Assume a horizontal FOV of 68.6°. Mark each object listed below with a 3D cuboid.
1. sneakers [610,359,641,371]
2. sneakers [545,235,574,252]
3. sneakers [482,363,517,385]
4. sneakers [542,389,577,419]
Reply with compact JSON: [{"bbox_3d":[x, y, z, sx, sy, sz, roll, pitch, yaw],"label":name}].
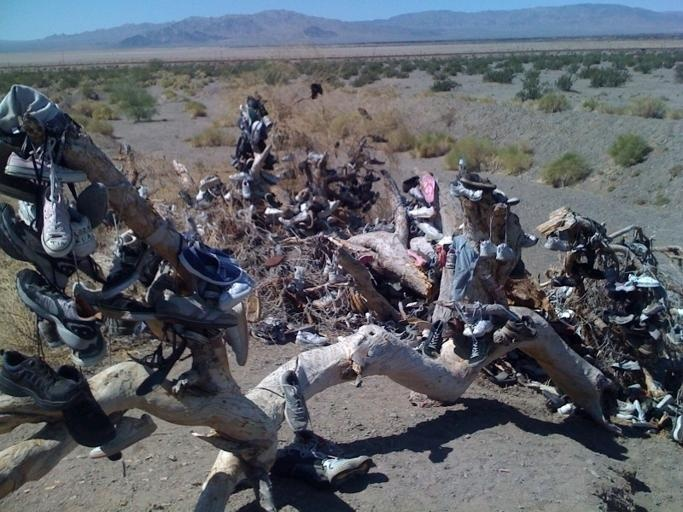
[{"bbox_3d":[3.071,1.177,5.431,0.180,0.058,0.170,-5,2,-10],"label":"sneakers"},{"bbox_3d":[2.270,-0.129,5.245,0.248,0.089,0.162,4,6,-40],"label":"sneakers"},{"bbox_3d":[1.791,1.322,5.616,0.239,0.084,0.226,-3,24,-19],"label":"sneakers"},{"bbox_3d":[2.260,1.529,5.211,0.350,0.162,0.219,17,38,22],"label":"sneakers"}]
